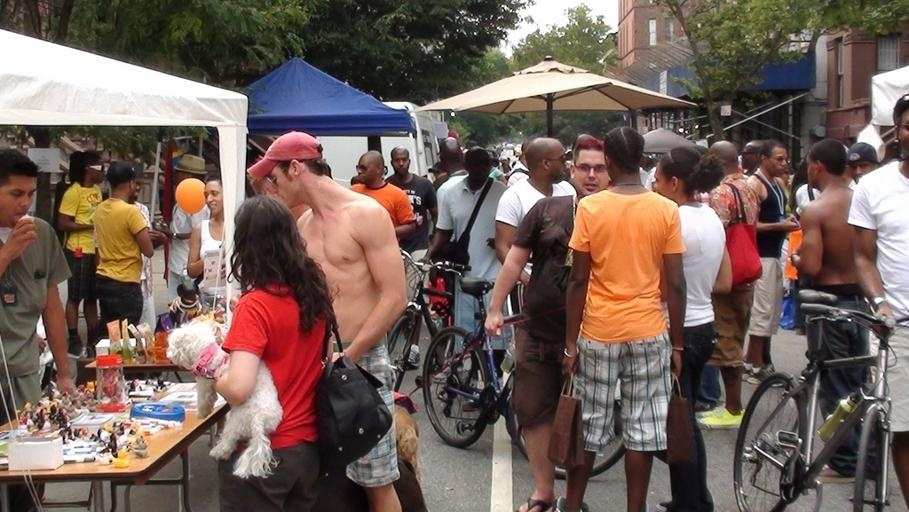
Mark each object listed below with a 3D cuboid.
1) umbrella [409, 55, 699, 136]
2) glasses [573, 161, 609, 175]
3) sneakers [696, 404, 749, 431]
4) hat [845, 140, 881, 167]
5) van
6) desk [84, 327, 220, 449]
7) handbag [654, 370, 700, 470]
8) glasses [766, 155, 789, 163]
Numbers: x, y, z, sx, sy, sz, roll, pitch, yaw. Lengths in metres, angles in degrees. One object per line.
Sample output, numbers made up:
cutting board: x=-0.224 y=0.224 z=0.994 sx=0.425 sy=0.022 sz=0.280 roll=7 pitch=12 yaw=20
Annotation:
umbrella: x=1.443 y=-2.192 z=9.874 sx=2.151 sy=0.779 sz=2.062 roll=-1 pitch=9 yaw=1
glasses: x=1.247 y=-0.800 z=6.544 sx=0.162 sy=0.086 sz=0.219 roll=0 pitch=-3 yaw=7
sneakers: x=2.995 y=1.830 z=8.294 sx=0.643 sy=0.256 sz=0.255 roll=0 pitch=3 yaw=7
hat: x=4.466 y=-1.127 z=7.965 sx=0.312 sy=0.264 sz=0.445 roll=8 pitch=18 yaw=39
van: x=-1.732 y=-2.570 z=17.335 sx=3.207 sy=1.718 sz=1.939 roll=1 pitch=1 yaw=4
desk: x=-2.556 y=1.128 z=6.170 sx=1.382 sy=0.670 sz=1.034 roll=1 pitch=2 yaw=5
handbag: x=1.848 y=1.377 z=6.017 sx=0.327 sy=0.736 sz=0.272 roll=-4 pitch=2 yaw=-45
glasses: x=4.154 y=-1.273 z=9.361 sx=0.169 sy=0.070 sz=0.187 roll=-1 pitch=-5 yaw=-10
